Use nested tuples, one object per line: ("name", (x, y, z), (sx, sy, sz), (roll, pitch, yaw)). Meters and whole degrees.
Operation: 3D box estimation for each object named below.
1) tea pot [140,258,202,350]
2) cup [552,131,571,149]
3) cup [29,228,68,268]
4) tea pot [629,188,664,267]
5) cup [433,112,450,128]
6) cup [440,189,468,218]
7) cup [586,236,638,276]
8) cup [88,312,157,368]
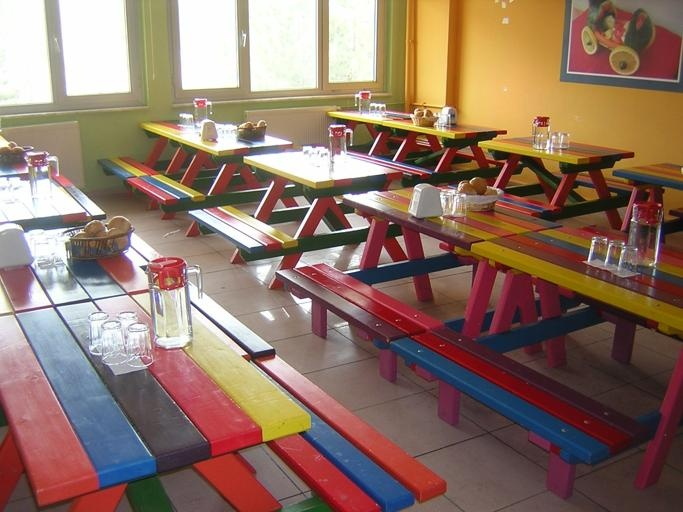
("tea pot", (-0.580, 0.174, 1.797), (0.149, 0.279, 0.244), (14, 20, 37))
("cup", (2.122, -1.107, 5.070), (0.160, 0.117, 0.162), (0, 22, 0))
("cup", (-1.380, -0.045, 2.501), (0.161, 0.131, 0.319), (-11, 21, -28))
("tea pot", (1.365, -0.091, 2.376), (0.137, 0.292, 0.108), (6, 20, 20))
("cup", (1.187, -1.581, 6.312), (0.224, 0.207, 0.212), (0, 24, 0))
("cup", (0.670, -0.317, 3.188), (0.129, 0.132, 0.183), (1, 18, 4))
("cup", (1.233, 0.007, 2.412), (0.066, 0.092, 0.172), (-14, 22, -36))
("cup", (-0.704, 0.258, 1.706), (0.224, 0.112, 0.135), (18, 24, 40))
